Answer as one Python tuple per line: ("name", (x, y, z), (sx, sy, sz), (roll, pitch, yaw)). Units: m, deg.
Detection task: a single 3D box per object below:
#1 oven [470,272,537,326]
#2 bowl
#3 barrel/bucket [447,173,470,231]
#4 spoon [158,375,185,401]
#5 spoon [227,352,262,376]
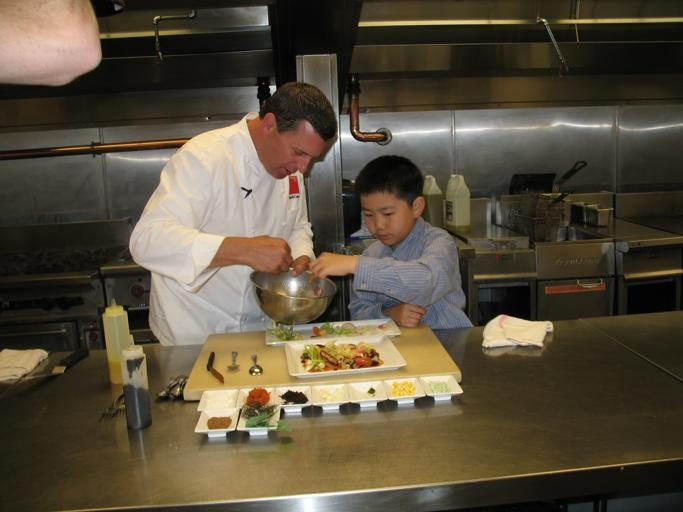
("oven", (0.993, 0.255, 3.412), (0.298, 0.388, 0.280), (-7, 16, -4))
("bowl", (-0.176, 0.174, 2.089), (0.305, 0.232, 0.297), (-3, 4, 0))
("barrel/bucket", (0.811, -0.370, 3.879), (0.142, 0.362, 0.248), (-4, 9, -5))
("spoon", (-0.538, 0.423, 1.792), (0.048, 0.015, 0.090), (3, 17, 4))
("spoon", (-0.318, 0.353, 1.871), (0.124, 0.061, 0.134), (-3, 4, 1))
